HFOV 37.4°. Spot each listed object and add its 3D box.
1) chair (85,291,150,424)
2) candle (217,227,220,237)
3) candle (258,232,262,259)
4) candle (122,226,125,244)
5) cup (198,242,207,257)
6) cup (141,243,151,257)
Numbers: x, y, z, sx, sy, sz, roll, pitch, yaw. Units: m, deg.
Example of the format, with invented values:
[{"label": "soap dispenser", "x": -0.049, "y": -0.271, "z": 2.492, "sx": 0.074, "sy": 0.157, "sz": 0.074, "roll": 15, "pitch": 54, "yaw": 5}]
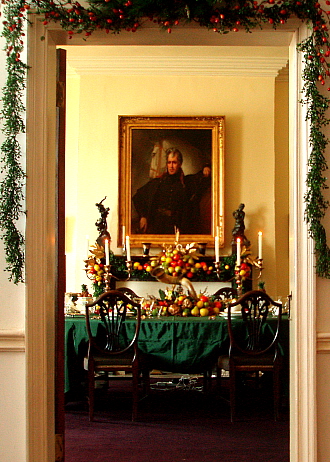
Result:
[{"label": "chair", "x": -0.335, "y": 0.852, "z": 3.436, "sx": 0.442, "sy": 0.883, "sz": 0.945, "roll": 0, "pitch": -5, "yaw": -7}, {"label": "candle", "x": 0.542, "y": 0.008, "z": 5.000, "sx": 0.028, "sy": 0.108, "sz": 0.019, "roll": -1, "pitch": -5, "yaw": 17}, {"label": "candle", "x": 0.776, "y": 0.119, "z": 3.976, "sx": 0.019, "sy": 0.234, "sz": 0.173, "roll": -1, "pitch": -5, "yaw": 17}, {"label": "candle", "x": -0.422, "y": 0.042, "z": 5.006, "sx": 0.037, "sy": 0.201, "sz": 0.093, "roll": 1, "pitch": -5, "yaw": -11}, {"label": "cup", "x": 0.372, "y": 0.181, "z": 4.853, "sx": 0.108, "sy": 0.142, "sz": 0.109, "roll": 1, "pitch": 3, "yaw": 0}, {"label": "cup", "x": -0.190, "y": 0.188, "z": 4.880, "sx": 0.111, "sy": 0.145, "sz": 0.114, "roll": 3, "pitch": -1, "yaw": 0}]
